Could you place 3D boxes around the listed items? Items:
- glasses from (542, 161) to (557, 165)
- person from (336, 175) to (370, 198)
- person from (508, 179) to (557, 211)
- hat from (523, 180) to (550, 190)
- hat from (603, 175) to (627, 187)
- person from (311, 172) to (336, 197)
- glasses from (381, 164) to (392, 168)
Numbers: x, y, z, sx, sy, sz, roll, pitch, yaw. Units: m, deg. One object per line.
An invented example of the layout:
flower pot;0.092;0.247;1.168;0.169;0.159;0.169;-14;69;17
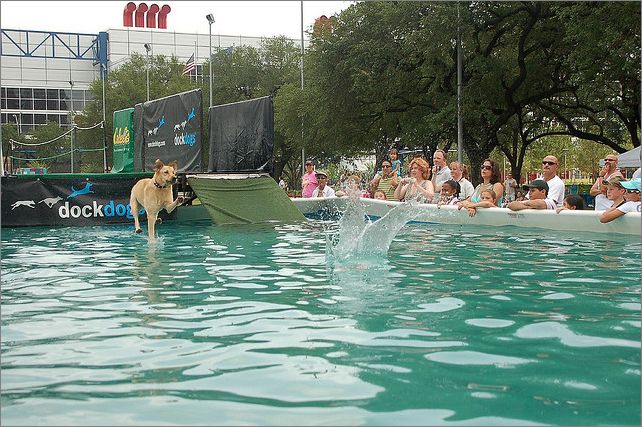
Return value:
glasses;4.802;-1.065;11.412;0.415;0.094;0.131;-6;9;-29
person;0.828;-0.570;11.239;0.761;0.340;0.737;3;-2;-19
person;4.406;-0.369;11.346;0.947;0.477;0.527;1;-4;-30
hat;4.467;-0.588;11.223;0.369;0.176;0.243;2;-4;-3
hat;5.759;-0.631;10.699;0.461;0.141;0.455;1;0;-39
person;0.108;-0.907;16.917;0.713;0.779;0.833;-1;8;-2
glasses;1.860;-1.344;15.329;0.229;0.121;0.308;0;8;7
